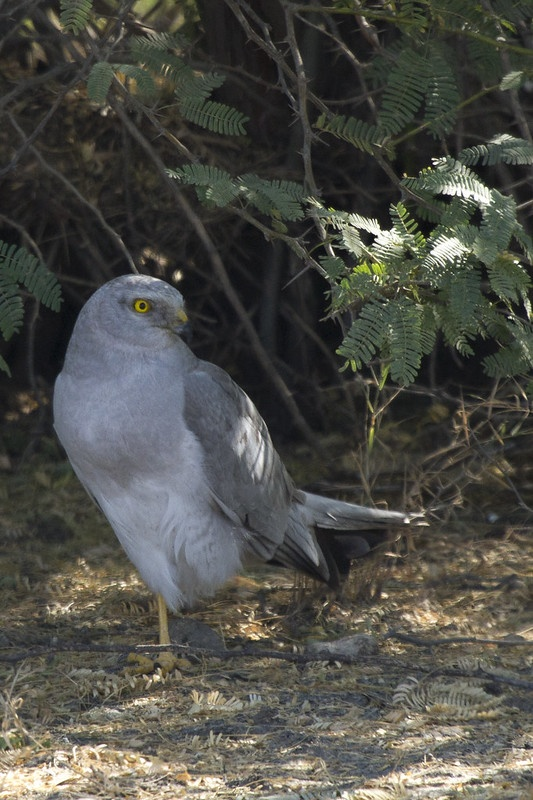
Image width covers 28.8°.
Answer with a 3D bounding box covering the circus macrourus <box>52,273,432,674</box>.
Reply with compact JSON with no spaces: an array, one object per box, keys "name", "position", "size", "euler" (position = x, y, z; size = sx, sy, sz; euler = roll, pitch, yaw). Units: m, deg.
[{"name":"circus macrourus","position":[-0.107,0.252,4.794],"size":[2.087,1.680,1.107],"euler":[-1,-7,-27]}]
